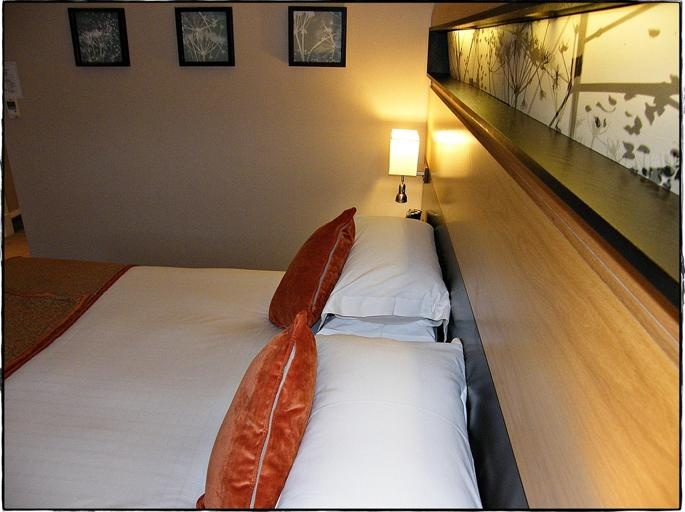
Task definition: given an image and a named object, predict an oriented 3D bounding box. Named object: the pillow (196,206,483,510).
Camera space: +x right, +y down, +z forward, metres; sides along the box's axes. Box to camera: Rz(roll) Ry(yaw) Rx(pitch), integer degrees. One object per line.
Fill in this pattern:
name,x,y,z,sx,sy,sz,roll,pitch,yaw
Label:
pillow,0.020,0.293,1.412,0.713,0.538,1.085,2,15,6
